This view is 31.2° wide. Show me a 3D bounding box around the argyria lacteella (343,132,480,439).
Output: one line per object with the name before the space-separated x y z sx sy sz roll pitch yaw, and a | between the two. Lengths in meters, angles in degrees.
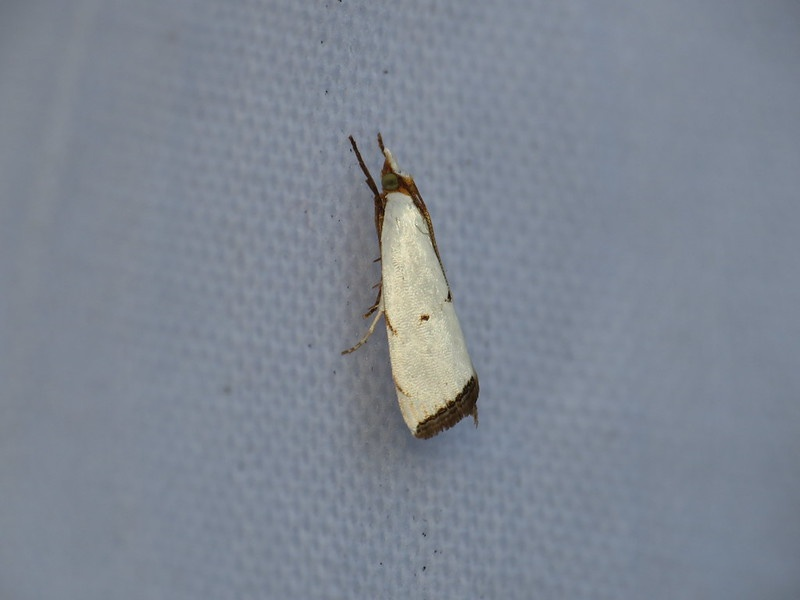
argyria lacteella | 0.032 -0.004 2.984 0.158 0.475 0.365 -14 -38 9
